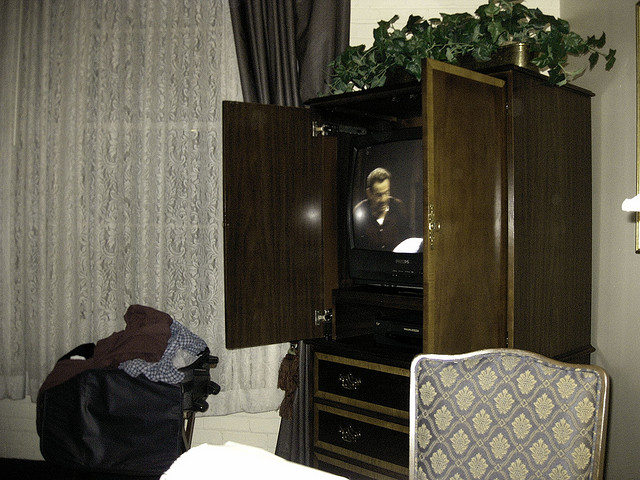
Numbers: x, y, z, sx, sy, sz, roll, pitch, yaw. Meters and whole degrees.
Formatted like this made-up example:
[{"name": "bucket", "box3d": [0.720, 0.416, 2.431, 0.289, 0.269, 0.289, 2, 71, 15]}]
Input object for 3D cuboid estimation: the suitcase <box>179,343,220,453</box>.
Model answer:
[{"name": "suitcase", "box3d": [-0.654, 0.842, 2.995, 0.218, 0.541, 0.156, 2, 13, -14]}]
